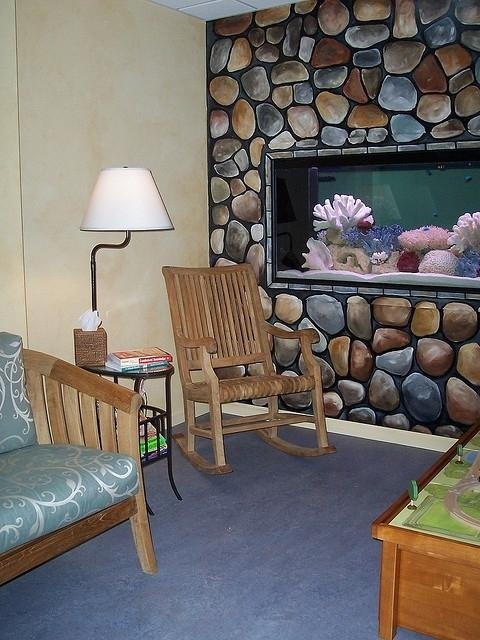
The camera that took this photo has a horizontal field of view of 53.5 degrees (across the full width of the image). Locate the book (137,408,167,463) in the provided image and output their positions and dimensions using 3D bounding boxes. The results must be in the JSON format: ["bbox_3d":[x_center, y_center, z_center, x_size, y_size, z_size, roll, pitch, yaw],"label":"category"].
[{"bbox_3d":[-0.343,0.447,1.824,0.133,0.134,0.209,-3,4,-29],"label":"book"}]

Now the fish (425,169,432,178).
[{"bbox_3d":[1.013,-0.787,2.562,0.029,0.033,0.042,22,11,8],"label":"fish"}]

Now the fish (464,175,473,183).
[{"bbox_3d":[1.170,-0.722,2.450,0.017,0.031,0.031,9,39,-52],"label":"fish"}]

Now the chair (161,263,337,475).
[{"bbox_3d":[0.022,0.211,2.688,0.849,1.074,1.019,0,0,2],"label":"chair"}]

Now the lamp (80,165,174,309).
[{"bbox_3d":[-0.539,-0.325,2.063,0.335,0.586,0.558,-1,0,-38],"label":"lamp"}]

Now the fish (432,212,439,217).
[{"bbox_3d":[1.053,-0.567,2.575,0.023,0.017,0.020,-6,10,-26],"label":"fish"}]

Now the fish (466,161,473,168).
[{"bbox_3d":[1.165,-0.789,2.429,0.032,0.030,0.017,0,0,28],"label":"fish"}]
